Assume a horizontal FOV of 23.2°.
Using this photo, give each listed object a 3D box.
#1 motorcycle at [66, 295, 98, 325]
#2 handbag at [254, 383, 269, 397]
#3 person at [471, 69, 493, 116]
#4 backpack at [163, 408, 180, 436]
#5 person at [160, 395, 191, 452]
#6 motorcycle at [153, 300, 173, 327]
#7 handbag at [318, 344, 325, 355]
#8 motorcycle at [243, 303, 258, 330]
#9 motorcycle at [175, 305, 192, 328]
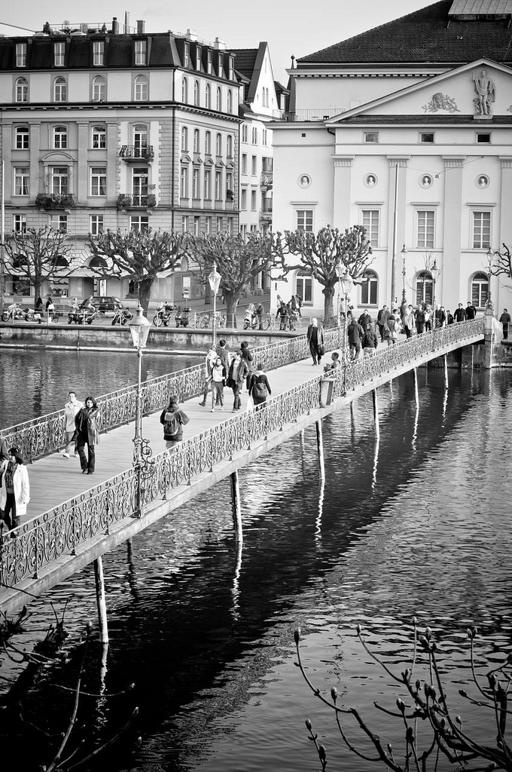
[{"bbox_3d":[-8.876,-3.918,64.542,0.818,1.408,2.213,3,12,3],"label":"motorcycle"},{"bbox_3d":[0.110,0.105,27.747,0.291,0.529,0.258,0,-3,-9],"label":"handbag"},{"bbox_3d":[12.033,-15.456,65.863,1.137,2.431,0.484,4,6,15],"label":"person"},{"bbox_3d":[-1.518,0.671,22.710,0.281,0.489,0.222,2,6,-6],"label":"backpack"},{"bbox_3d":[-1.483,0.738,22.927,0.411,1.257,0.549,7,28,9],"label":"person"},{"bbox_3d":[-4.798,-3.605,63.479,0.721,1.162,1.553,2,6,12],"label":"motorcycle"},{"bbox_3d":[2.041,-1.147,38.971,0.139,0.408,0.343,1,4,18],"label":"handbag"},{"bbox_3d":[-0.407,-3.451,62.611,0.810,1.207,1.596,-1,-1,10],"label":"motorcycle"},{"bbox_3d":[-3.682,-3.499,62.560,0.598,1.002,1.433,2,14,5],"label":"motorcycle"}]
